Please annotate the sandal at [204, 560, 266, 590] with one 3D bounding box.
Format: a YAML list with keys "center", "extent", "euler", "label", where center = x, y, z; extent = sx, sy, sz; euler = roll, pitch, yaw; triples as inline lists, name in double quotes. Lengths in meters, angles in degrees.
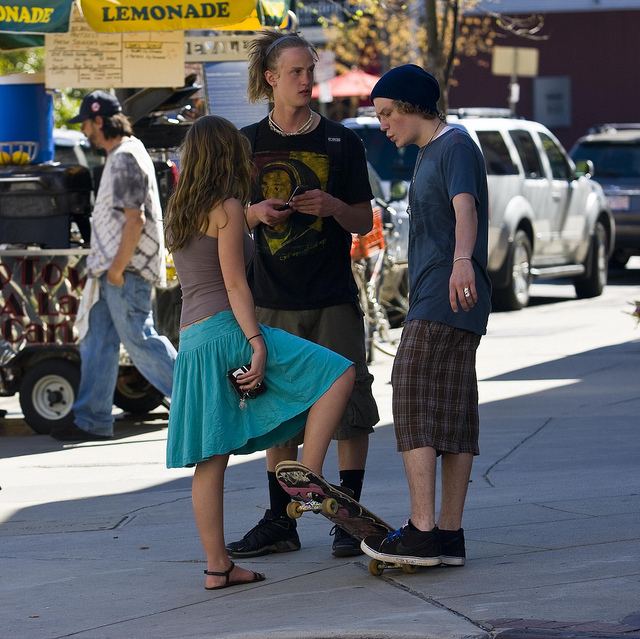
- center: [-0.395, 1.046, 5.626]
  extent: [0.274, 0.103, 0.097]
  euler: [-7, 3, -22]
  label: "sandal"

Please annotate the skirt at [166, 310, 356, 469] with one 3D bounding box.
- center: [-0.332, 0.290, 5.555]
  extent: [0.761, 0.385, 0.620]
  euler: [-3, -27, -40]
  label: "skirt"

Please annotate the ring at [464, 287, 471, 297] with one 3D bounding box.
- center: [0.578, -0.109, 5.391]
  extent: [0.021, 0.039, 0.009]
  euler: [0, 16, 3]
  label: "ring"

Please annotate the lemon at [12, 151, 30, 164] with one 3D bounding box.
- center: [-2.198, -1.150, 9.602]
  extent: [0.106, 0.056, 0.102]
  euler: [-5, -2, -36]
  label: "lemon"

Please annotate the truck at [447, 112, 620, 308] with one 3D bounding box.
- center: [2.140, -1.286, 15.567]
  extent: [1.535, 1.656, 3.302]
  euler: [3, 6, 40]
  label: "truck"

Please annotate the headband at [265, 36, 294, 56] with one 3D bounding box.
- center: [-0.215, -1.243, 6.130]
  extent: [0.120, 0.085, 0.109]
  euler: [-3, 16, -12]
  label: "headband"

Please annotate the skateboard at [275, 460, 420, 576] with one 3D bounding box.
- center: [0.055, 0.744, 5.513]
  extent: [0.493, 0.415, 0.213]
  euler: [0, 16, 2]
  label: "skateboard"

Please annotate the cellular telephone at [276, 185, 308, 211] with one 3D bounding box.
- center: [-0.149, -0.534, 5.948]
  extent: [0.159, 0.119, 0.096]
  euler: [2, 16, 9]
  label: "cellular telephone"

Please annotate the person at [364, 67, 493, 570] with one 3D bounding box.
- center: [0.452, 0.005, 5.673]
  extent: [0.515, 2.050, 0.853]
  euler: [0, 16, 4]
  label: "person"

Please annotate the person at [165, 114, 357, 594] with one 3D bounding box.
- center: [-0.378, 0.124, 5.611]
  extent: [0.735, 1.867, 0.758]
  euler: [-15, 22, -41]
  label: "person"

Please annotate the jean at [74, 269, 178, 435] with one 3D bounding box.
- center: [-1.320, 0.222, 8.724]
  extent: [0.670, 1.086, 0.376]
  euler: [-1, 16, -3]
  label: "jean"

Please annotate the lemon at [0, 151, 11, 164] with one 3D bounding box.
- center: [-2.282, -1.139, 9.530]
  extent: [0.064, 0.063, 0.078]
  euler: [0, 52, 2]
  label: "lemon"

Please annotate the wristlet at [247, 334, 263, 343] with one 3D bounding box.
- center: [-0.289, 0.075, 5.518]
  extent: [0.034, 0.031, 0.007]
  euler: [-23, 43, 6]
  label: "wristlet"

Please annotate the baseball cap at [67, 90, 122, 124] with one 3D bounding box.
- center: [-1.532, -1.395, 8.862]
  extent: [0.306, 0.141, 0.191]
  euler: [-4, 6, -2]
  label: "baseball cap"
